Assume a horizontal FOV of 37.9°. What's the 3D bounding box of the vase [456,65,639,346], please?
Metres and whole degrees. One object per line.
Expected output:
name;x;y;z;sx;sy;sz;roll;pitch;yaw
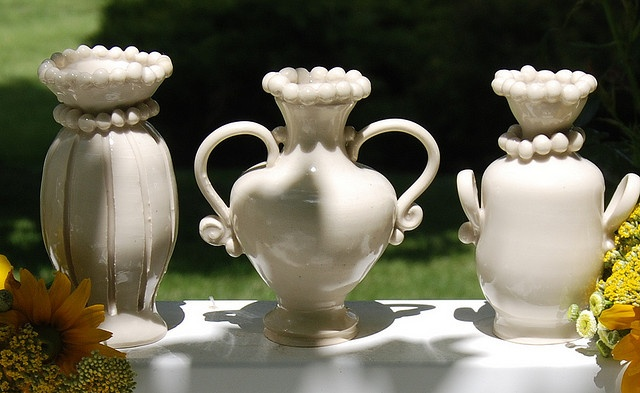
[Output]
vase;0.975;0.035;4.091;0.586;1.137;0.565;-23;31;-34
